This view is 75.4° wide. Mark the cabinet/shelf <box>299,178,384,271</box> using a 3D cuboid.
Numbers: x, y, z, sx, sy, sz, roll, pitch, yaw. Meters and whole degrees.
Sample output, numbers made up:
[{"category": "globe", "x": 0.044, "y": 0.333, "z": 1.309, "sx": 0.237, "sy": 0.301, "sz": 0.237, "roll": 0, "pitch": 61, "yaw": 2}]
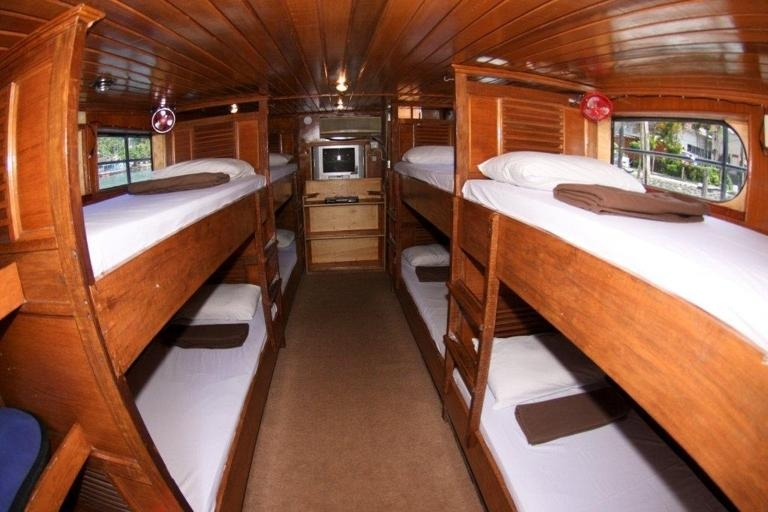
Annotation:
[{"category": "cabinet/shelf", "x": -0.675, "y": -0.504, "z": 7.457, "sx": 1.491, "sy": 1.502, "sz": 0.470, "roll": -1, "pitch": 10, "yaw": -6}]

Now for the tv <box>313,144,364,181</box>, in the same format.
[{"category": "tv", "x": -0.567, "y": -1.476, "z": 7.771, "sx": 0.967, "sy": 0.546, "sz": 0.503, "roll": 4, "pitch": 11, "yaw": 25}]
